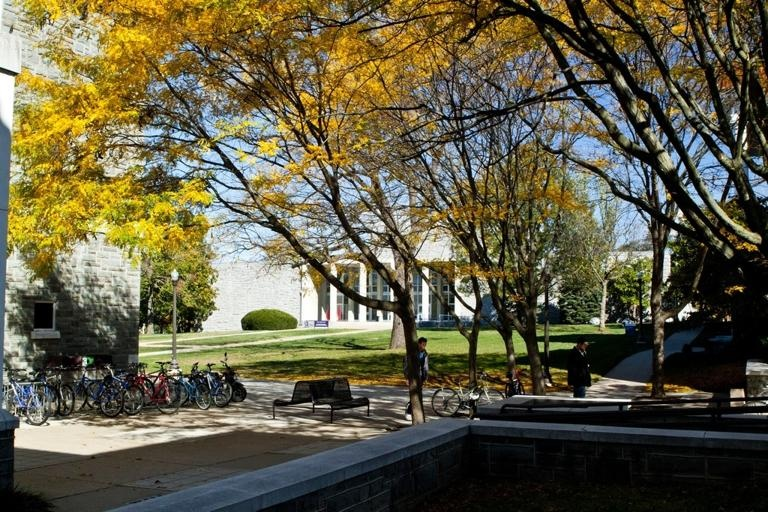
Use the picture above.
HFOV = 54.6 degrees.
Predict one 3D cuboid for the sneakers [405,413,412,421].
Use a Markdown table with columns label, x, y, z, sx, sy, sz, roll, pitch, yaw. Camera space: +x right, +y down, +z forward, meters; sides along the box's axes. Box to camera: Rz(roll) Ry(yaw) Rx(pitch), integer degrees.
| label | x | y | z | sx | sy | sz | roll | pitch | yaw |
| --- | --- | --- | --- | --- | --- | --- | --- | --- | --- |
| sneakers | 0.627 | 4.067 | 18.689 | 0.216 | 0.145 | 0.205 | 0 | -8 | -7 |

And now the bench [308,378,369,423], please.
| label | x | y | z | sx | sy | sz | roll | pitch | yaw |
| --- | --- | --- | --- | --- | --- | --- | --- | --- | --- |
| bench | -1.236 | 3.851 | 19.485 | 1.217 | 0.680 | 1.120 | 5 | -4 | -44 |

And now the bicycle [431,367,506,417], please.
| label | x | y | z | sx | sy | sz | roll | pitch | yaw |
| --- | --- | --- | --- | --- | --- | --- | --- | --- | --- |
| bicycle | 1.903 | 3.694 | 20.030 | 2.591 | 1.431 | 1.225 | -5 | -5 | 11 |
